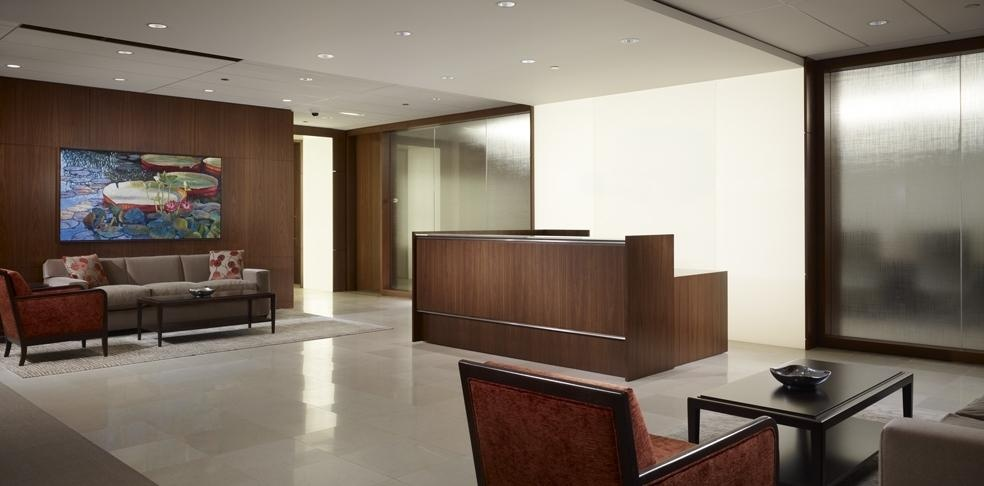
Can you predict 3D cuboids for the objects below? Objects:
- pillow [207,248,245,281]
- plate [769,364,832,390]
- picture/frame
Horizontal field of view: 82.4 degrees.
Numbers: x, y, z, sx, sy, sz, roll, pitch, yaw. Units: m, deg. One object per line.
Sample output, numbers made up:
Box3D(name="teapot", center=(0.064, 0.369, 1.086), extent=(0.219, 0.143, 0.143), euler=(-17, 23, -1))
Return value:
Box3D(name="pillow", center=(-5.518, 0.473, 11.559), extent=(0.826, 0.583, 0.262), euler=(-1, -5, -17))
Box3D(name="plate", center=(3.463, 1.507, 6.312), extent=(0.419, 0.102, 0.340), euler=(-1, 2, 30))
Box3D(name="picture/frame", center=(-7.220, -0.946, 11.222), extent=(4.359, 2.045, 0.102), euler=(0, 1, -31))
